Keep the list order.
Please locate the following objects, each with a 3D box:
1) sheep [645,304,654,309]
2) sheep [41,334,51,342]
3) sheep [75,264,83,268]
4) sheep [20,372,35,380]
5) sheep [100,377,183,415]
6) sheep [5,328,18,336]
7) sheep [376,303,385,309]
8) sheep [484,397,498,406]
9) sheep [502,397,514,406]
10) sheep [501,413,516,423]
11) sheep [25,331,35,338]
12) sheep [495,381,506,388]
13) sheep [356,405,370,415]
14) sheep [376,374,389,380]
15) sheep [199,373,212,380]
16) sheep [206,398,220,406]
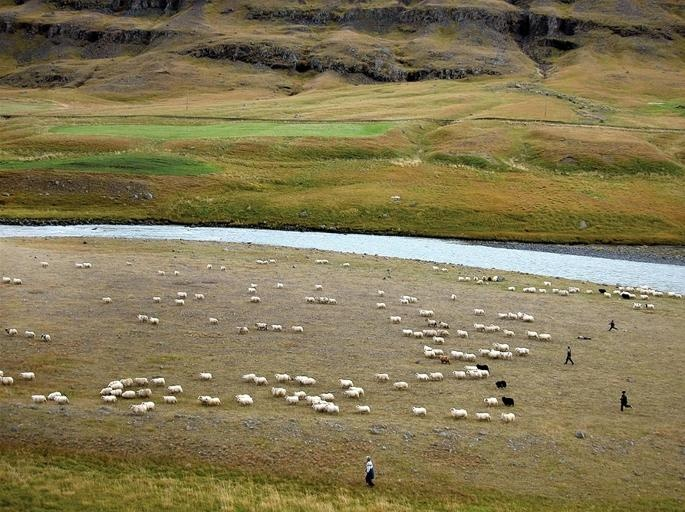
[{"bbox_3d":[33.118,5.511,103.655,1.105,0.478,1.014,4,7,2],"label":"sheep"},{"bbox_3d":[-27.102,7.481,88.023,0.710,0.536,1.059,-2,9,-35],"label":"sheep"},{"bbox_3d":[-29.227,1.102,107.054,0.641,0.440,1.021,2,7,-17],"label":"sheep"},{"bbox_3d":[-27.105,10.380,83.073,1.234,0.646,0.649,7,9,22],"label":"sheep"},{"bbox_3d":[-17.332,11.808,82.240,6.498,2.145,3.915,2,8,-7],"label":"sheep"},{"bbox_3d":[-30.463,7.027,88.688,1.045,0.529,1.057,1,8,-17],"label":"sheep"},{"bbox_3d":[3.993,5.151,99.422,1.002,0.453,0.907,3,7,-3],"label":"sheep"},{"bbox_3d":[12.935,12.684,83.564,1.103,0.694,0.791,-2,11,-35],"label":"sheep"},{"bbox_3d":[14.414,12.673,83.585,1.137,0.766,0.638,5,9,6],"label":"sheep"},{"bbox_3d":[14.181,13.808,81.908,1.235,0.759,0.560,2,10,-14],"label":"sheep"},{"bbox_3d":[-28.661,7.231,88.409,0.765,0.493,0.998,-1,9,-33],"label":"sheep"},{"bbox_3d":[14.124,11.441,85.435,0.938,0.663,0.389,2,11,-16],"label":"sheep"},{"bbox_3d":[1.789,13.075,81.943,1.289,0.594,0.606,3,9,-1],"label":"sheep"},{"bbox_3d":[3.549,10.825,85.670,1.274,0.600,0.643,5,9,9],"label":"sheep"},{"bbox_3d":[-12.008,10.565,84.517,1.087,0.534,0.576,3,9,-4],"label":"sheep"},{"bbox_3d":[-10.871,12.422,81.663,1.165,0.675,0.580,3,10,-6],"label":"sheep"}]
